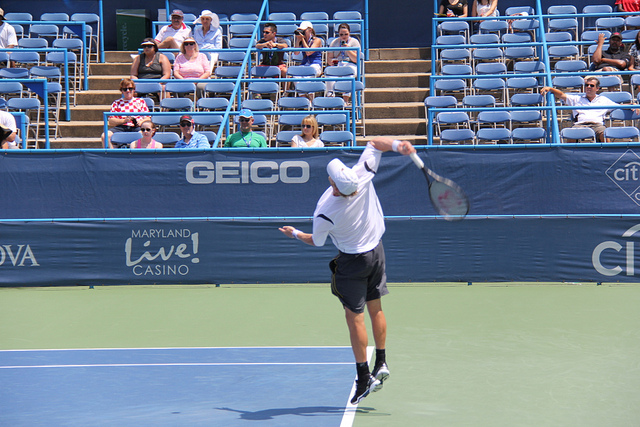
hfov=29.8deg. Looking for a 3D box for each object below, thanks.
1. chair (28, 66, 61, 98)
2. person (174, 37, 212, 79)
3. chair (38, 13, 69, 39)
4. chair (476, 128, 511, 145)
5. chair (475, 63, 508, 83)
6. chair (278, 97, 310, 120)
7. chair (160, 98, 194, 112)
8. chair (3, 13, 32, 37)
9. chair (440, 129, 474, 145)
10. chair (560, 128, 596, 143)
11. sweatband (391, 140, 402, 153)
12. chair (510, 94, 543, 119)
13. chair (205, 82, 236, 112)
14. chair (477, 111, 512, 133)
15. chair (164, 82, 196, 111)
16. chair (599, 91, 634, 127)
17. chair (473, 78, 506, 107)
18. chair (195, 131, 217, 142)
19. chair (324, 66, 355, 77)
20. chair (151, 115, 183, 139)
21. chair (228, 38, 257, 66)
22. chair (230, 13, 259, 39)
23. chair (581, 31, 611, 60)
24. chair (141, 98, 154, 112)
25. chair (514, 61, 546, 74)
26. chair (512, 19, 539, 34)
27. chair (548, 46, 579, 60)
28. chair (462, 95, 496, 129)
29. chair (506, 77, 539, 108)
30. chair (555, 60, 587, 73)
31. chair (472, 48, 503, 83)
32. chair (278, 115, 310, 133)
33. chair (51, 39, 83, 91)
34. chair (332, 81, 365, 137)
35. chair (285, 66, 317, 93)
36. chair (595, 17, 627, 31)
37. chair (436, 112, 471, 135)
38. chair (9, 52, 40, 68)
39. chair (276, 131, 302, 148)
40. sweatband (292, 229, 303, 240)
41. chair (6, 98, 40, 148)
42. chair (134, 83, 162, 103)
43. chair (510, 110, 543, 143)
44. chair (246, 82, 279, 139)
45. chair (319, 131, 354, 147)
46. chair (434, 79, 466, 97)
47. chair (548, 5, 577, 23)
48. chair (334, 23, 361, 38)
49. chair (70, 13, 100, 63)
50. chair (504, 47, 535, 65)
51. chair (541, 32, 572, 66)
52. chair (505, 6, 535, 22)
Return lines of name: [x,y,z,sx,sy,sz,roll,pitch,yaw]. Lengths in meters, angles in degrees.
chair: [-6.010,-2.872,26.786,0.921,0.671,0.741,-8,20,-34]
person: [-2.785,-3.304,26.199,1.010,0.886,0.950,-1,3,-3]
chair: [-6.481,-4.623,29.721,0.798,0.830,0.714,0,2,-5]
chair: [3.494,-1.563,24.400,0.468,0.338,0.321,1,19,7]
chair: [3.697,-3.135,26.139,0.659,0.418,0.516,3,-25,5]
chair: [-0.520,-2.123,24.633,0.854,0.441,0.269,-1,9,0]
chair: [-2.975,-2.278,25.132,0.715,0.357,0.230,-1,17,0]
chair: [-7.378,-4.624,29.681,0.643,0.591,1.053,-2,9,-13]
chair: [2.744,-1.594,24.306,0.566,0.406,0.380,0,15,6]
chair: [5.047,-1.528,23.740,0.427,0.309,0.288,0,9,12]
sweatband: [1.125,-0.997,18.100,0.179,0.140,0.175,12,20,33]
chair: [4.276,-2.201,25.109,0.720,0.489,0.497,1,10,7]
chair: [-2.097,-2.472,25.794,0.744,0.826,0.680,1,4,2]
chair: [3.523,-1.847,24.605,0.786,0.395,0.454,1,8,10]
chair: [-2.894,-2.428,25.730,0.883,0.616,0.597,-1,18,-2]
chair: [6.101,-2.143,24.843,0.694,0.670,1.311,4,9,21]
chair: [3.593,-2.486,25.637,0.890,0.646,0.613,1,26,11]
chair: [-2.244,-1.514,24.033,0.355,0.212,0.912,-1,8,-5]
chair: [0.422,-3.017,25.735,0.624,0.215,0.173,1,10,3]
chair: [-3.083,-1.734,24.767,0.730,0.612,0.570,0,5,4]
chair: [-1.657,-3.669,27.721,0.729,0.626,1.031,-1,2,-7]
chair: [-1.776,-4.527,28.826,0.916,0.705,0.664,0,0,-6]
chair: [6.045,-3.754,26.826,0.805,0.739,0.672,0,0,6]
chair: [-3.593,-2.320,25.539,0.245,0.247,0.205,0,18,-1]
chair: [4.507,-3.156,26.061,0.678,0.231,0.336,3,9,16]
chair: [4.640,-4.254,27.221,0.669,0.209,0.259,5,11,31]
chair: [5.328,-3.517,26.638,0.440,0.380,0.333,-1,-1,10]
chair: [3.310,-2.110,25.453,0.909,0.870,0.759,-1,0,4]
chair: [4.217,-2.506,25.563,0.897,0.629,0.639,2,13,12]
chair: [5.410,-3.180,26.159,0.681,0.231,0.519,2,9,9]
chair: [3.701,-3.425,26.763,0.661,0.758,0.585,-11,18,-4]
chair: [-0.518,-1.807,24.504,0.456,0.444,0.412,-1,0,0]
chair: [-5.882,-3.447,27.848,0.807,1.068,0.690,9,8,20]
chair: [0.554,-2.255,25.157,0.707,0.905,0.664,-4,24,-32]
chair: [-0.381,-2.780,25.962,0.874,0.644,0.545,1,45,-1]
chair: [6.651,-4.342,27.678,0.685,0.272,0.411,2,9,11]
chair: [2.681,-1.754,24.410,0.699,0.501,0.461,0,24,5]
chair: [-6.633,-3.452,27.243,0.418,0.252,0.284,-1,22,-5]
chair: [-0.603,-1.524,24.069,0.557,0.361,0.388,-1,22,-4]
sweatband: [-0.368,0.326,18.450,0.215,0.122,0.165,0,-3,-7]
chair: [-6.289,-1.915,25.779,0.698,1.057,0.921,-2,10,-12]
chair: [-3.637,-2.481,25.774,0.716,0.409,0.425,0,-4,0]
chair: [4.202,-1.754,24.738,0.805,0.807,0.704,0,-4,7]
chair: [-1.220,-2.183,25.552,0.830,1.011,0.840,6,26,7]
chair: [0.344,-1.512,23.923,0.493,0.490,0.428,-2,-4,6]
chair: [2.745,-2.660,25.715,0.696,0.360,0.654,2,9,11]
chair: [5.626,-4.678,28.171,0.887,0.484,0.324,1,7,-3]
chair: [0.626,-4.093,27.082,0.617,0.450,0.388,0,36,3]
chair: [-5.683,-4.286,29.068,0.850,1.046,0.719,1,-5,0]
chair: [4.380,-3.465,26.595,0.447,0.307,0.294,1,35,7]
chair: [5.336,-3.710,27.277,0.941,0.928,0.822,0,4,10]
chair: [4.624,-4.681,28.274,0.481,0.330,0.342,-1,-3,5]
